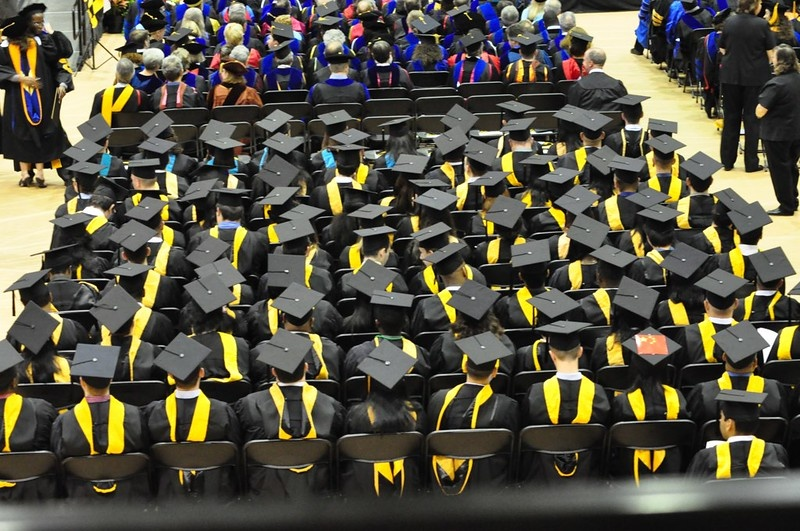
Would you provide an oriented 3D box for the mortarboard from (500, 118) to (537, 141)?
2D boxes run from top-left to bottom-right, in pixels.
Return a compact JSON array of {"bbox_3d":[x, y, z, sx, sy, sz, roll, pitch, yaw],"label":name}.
[{"bbox_3d":[1.425,-1.651,11.702,0.352,0.325,0.302,-2,-9,4],"label":"mortarboard"}]

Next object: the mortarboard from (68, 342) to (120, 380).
[{"bbox_3d":[-2.389,0.740,7.538,0.350,0.279,0.234,2,-9,-18],"label":"mortarboard"}]

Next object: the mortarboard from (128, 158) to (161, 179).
[{"bbox_3d":[-2.916,-1.105,10.974,0.317,0.306,0.322,2,-9,-17],"label":"mortarboard"}]

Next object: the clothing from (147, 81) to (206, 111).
[{"bbox_3d":[-3.041,-2.266,13.026,0.735,0.526,0.400,0,8,-1],"label":"clothing"}]

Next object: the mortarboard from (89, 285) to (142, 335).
[{"bbox_3d":[-2.427,0.375,8.373,0.392,0.388,0.155,35,-17,21],"label":"mortarboard"}]

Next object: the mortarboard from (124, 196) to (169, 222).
[{"bbox_3d":[-2.657,-0.592,10.018,0.299,0.123,0.430,14,36,20],"label":"mortarboard"}]

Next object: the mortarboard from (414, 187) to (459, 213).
[{"bbox_3d":[0.370,-0.698,10.135,0.367,0.311,0.358,-6,-10,29],"label":"mortarboard"}]

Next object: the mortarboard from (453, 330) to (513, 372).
[{"bbox_3d":[0.680,0.651,7.784,0.311,0.192,0.307,-16,40,-22],"label":"mortarboard"}]

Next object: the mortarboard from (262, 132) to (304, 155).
[{"bbox_3d":[-1.428,-1.467,11.611,0.410,0.359,0.412,-1,-9,-4],"label":"mortarboard"}]

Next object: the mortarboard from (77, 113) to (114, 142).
[{"bbox_3d":[-3.794,-1.694,12.001,0.378,0.103,0.380,-27,59,-26],"label":"mortarboard"}]

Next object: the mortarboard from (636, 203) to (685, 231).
[{"bbox_3d":[2.593,-0.504,9.730,0.309,0.178,0.288,-9,27,-10],"label":"mortarboard"}]

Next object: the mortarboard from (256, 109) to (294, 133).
[{"bbox_3d":[-1.633,-1.832,12.262,0.303,0.110,0.432,25,47,26],"label":"mortarboard"}]

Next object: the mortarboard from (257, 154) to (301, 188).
[{"bbox_3d":[-1.408,-1.083,11.063,0.480,0.410,0.271,-1,-9,1],"label":"mortarboard"}]

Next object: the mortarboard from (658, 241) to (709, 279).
[{"bbox_3d":[2.639,-0.054,8.950,0.304,0.138,0.429,26,56,25],"label":"mortarboard"}]

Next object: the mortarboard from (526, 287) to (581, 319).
[{"bbox_3d":[1.379,0.330,8.597,0.429,0.296,0.372,1,-9,-15],"label":"mortarboard"}]

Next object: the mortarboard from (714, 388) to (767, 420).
[{"bbox_3d":[2.584,1.034,7.381,0.323,0.147,0.211,0,0,5],"label":"mortarboard"}]

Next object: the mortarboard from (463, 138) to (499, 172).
[{"bbox_3d":[0.921,-1.295,11.059,0.421,0.302,0.379,9,41,3],"label":"mortarboard"}]

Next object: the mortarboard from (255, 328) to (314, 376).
[{"bbox_3d":[-0.924,0.681,7.680,0.341,0.089,0.340,22,48,28],"label":"mortarboard"}]

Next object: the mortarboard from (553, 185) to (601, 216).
[{"bbox_3d":[1.868,-0.696,10.223,0.313,0.150,0.470,31,49,27],"label":"mortarboard"}]

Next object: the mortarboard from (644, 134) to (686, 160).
[{"bbox_3d":[3.014,-1.387,11.075,0.355,0.102,0.362,20,34,27],"label":"mortarboard"}]

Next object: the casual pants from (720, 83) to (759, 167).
[{"bbox_3d":[4.716,-2.021,13.373,0.514,1.471,0.403,1,-5,18],"label":"casual pants"}]

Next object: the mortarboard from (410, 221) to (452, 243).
[{"bbox_3d":[0.328,-0.334,9.540,0.389,0.248,0.327,0,-9,-10],"label":"mortarboard"}]

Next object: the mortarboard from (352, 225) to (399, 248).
[{"bbox_3d":[-0.253,-0.314,9.559,0.347,0.226,0.302,0,-9,-5],"label":"mortarboard"}]

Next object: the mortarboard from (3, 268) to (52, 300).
[{"bbox_3d":[-3.383,0.131,8.759,0.326,0.219,0.260,-1,-9,-3],"label":"mortarboard"}]

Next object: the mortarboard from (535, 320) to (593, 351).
[{"bbox_3d":[1.323,0.553,7.992,0.278,0.139,0.279,5,18,37],"label":"mortarboard"}]

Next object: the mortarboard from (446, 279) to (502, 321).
[{"bbox_3d":[0.608,0.298,8.488,0.396,0.391,0.365,-5,-9,21],"label":"mortarboard"}]

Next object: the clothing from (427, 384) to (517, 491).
[{"bbox_3d":[0.580,1.326,7.595,0.733,0.838,0.355,-1,-9,0],"label":"clothing"}]

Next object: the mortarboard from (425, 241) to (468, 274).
[{"bbox_3d":[0.427,-0.069,9.212,0.379,0.358,0.569,-2,-9,4],"label":"mortarboard"}]

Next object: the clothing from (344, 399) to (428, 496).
[{"bbox_3d":[-0.130,1.345,7.596,0.621,1.009,0.744,-1,41,-2],"label":"clothing"}]

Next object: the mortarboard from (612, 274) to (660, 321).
[{"bbox_3d":[2.061,0.283,8.518,0.364,0.105,0.338,23,58,14],"label":"mortarboard"}]

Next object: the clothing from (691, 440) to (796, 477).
[{"bbox_3d":[2.594,1.449,7.352,0.781,0.229,0.427,-7,-2,18],"label":"clothing"}]

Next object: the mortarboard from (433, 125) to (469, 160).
[{"bbox_3d":[0.600,-1.486,11.569,0.368,0.417,0.294,-1,-9,-4],"label":"mortarboard"}]

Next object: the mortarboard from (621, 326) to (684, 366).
[{"bbox_3d":[2.045,0.648,7.830,0.454,0.321,0.372,-2,-9,5],"label":"mortarboard"}]

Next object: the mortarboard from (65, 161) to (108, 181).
[{"bbox_3d":[-3.616,-1.122,11.112,0.394,0.196,0.240,3,-10,-25],"label":"mortarboard"}]

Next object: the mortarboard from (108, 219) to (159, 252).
[{"bbox_3d":[-2.587,-0.297,9.398,0.357,0.383,0.431,5,-11,-34],"label":"mortarboard"}]

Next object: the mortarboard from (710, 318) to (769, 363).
[{"bbox_3d":[2.765,0.607,7.860,0.343,0.104,0.331,-30,41,-18],"label":"mortarboard"}]
